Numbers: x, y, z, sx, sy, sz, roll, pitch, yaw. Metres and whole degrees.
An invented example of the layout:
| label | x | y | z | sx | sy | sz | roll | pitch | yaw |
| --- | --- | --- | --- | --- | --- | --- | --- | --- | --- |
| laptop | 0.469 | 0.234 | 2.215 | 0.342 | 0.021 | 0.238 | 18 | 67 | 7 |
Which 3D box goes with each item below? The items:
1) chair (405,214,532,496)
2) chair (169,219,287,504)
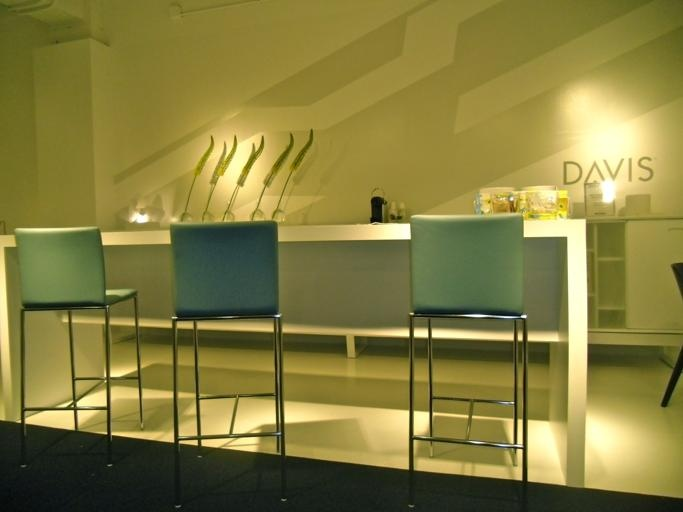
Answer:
| label | x | y | z | sx | sy | sz | roll | pitch | yaw |
| --- | --- | --- | --- | --- | --- | --- | --- | --- | --- |
| chair | 0.759 | 0.532 | 3.790 | 0.716 | 1.552 | 0.909 | 1 | 3 | 16 |
| chair | -0.691 | 0.590 | 3.858 | 0.699 | 1.589 | 0.958 | -1 | 3 | -16 |
